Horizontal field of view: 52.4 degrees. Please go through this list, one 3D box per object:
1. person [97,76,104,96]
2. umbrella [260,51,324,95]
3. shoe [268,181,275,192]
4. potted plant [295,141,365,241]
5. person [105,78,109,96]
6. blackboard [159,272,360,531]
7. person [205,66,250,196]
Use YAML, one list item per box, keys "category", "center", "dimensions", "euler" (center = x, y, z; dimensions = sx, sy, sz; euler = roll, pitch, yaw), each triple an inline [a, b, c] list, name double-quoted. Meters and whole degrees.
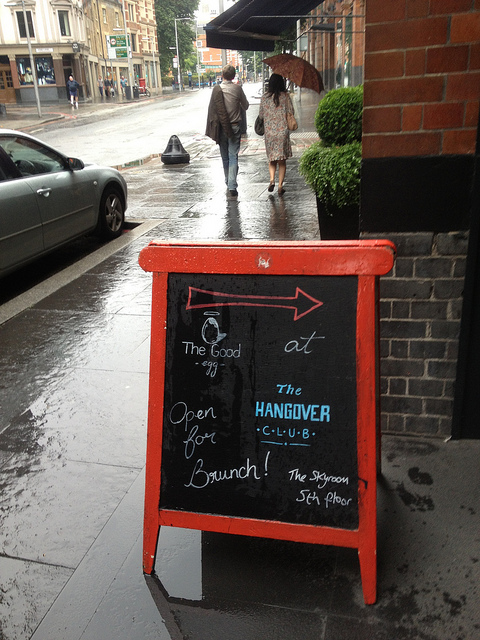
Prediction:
- category: "person"
  center: [-15.873, -26.596, 56.071]
  dimensions: [0.501, 1.690, 0.927]
  euler: [-9, 20, -14]
- category: "umbrella"
  center: [0.944, -4.151, 8.223]
  dimensions: [0.984, 0.642, 0.672]
  euler: [-23, 27, -39]
- category: "shoe"
  center: [0.585, -2.442, 9.035]
  dimensions: [0.085, 0.204, 0.137]
  euler: [7, 35, -2]
- category: "potted plant"
  center: [0.821, -1.096, 4.325]
  dimensions: [0.343, 0.835, 0.662]
  euler: [-15, 22, -29]
- category: "person"
  center: [-15.640, -27.284, 57.596]
  dimensions: [0.572, 1.670, 0.908]
  euler: [-9, 20, -14]
- category: "blackboard"
  center: [0.067, 0.199, 1.741]
  dimensions: [0.738, 1.080, 0.506]
  euler: [3, 34, 3]
- category: "person"
  center: [-0.243, -3.423, 8.982]
  dimensions: [0.893, 2.203, 0.875]
  euler: [-16, 22, -32]
